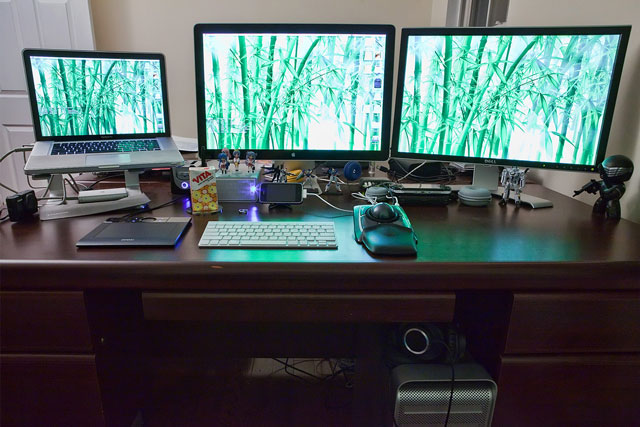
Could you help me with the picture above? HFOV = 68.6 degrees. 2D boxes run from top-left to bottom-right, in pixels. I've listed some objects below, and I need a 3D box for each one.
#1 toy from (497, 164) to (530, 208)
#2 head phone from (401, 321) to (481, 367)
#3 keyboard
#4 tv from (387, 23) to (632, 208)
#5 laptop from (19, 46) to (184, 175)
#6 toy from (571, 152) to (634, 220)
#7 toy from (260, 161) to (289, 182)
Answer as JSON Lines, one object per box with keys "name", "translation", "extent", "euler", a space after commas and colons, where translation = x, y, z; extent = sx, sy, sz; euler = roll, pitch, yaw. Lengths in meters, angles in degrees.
{"name": "toy", "translation": [0.777, -0.128, 1.922], "extent": [0.113, 0.200, 0.119], "euler": [-8, 19, -12]}
{"name": "head phone", "translation": [0.426, 0.459, 1.692], "extent": [0.234, 0.128, 0.195], "euler": [-1, 12, -7]}
{"name": "keyboard", "translation": [-0.177, 0.070, 1.587], "extent": [0.449, 0.022, 0.170], "euler": [0, 28, -1]}
{"name": "tv", "translation": [0.744, -0.389, 1.820], "extent": [0.827, 0.667, 0.206], "euler": [3, 11, 9]}
{"name": "laptop", "translation": [-0.873, -0.317, 2.061], "extent": [0.787, 0.499, 0.508], "euler": [-6, 33, -18]}
{"name": "toy", "translation": [1.072, -0.103, 1.805], "extent": [0.184, 0.240, 0.159], "euler": [-1, 17, -12]}
{"name": "toy", "translation": [-0.207, -0.186, 2.120], "extent": [0.120, 0.049, 0.152], "euler": [1, 15, -5]}
